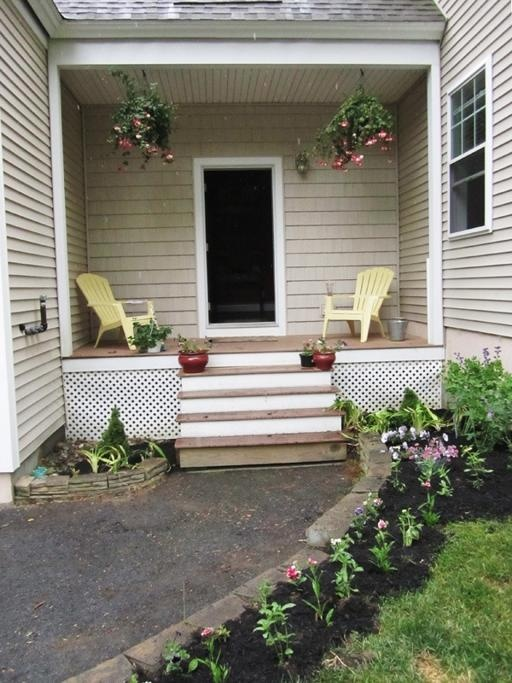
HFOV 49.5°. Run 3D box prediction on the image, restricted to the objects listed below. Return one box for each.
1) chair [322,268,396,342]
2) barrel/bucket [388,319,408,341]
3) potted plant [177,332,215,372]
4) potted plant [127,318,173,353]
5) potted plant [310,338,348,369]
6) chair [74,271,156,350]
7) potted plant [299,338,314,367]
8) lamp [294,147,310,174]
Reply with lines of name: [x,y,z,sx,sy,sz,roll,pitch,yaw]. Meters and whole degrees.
chair: [1.045,-0.375,5.601,0.541,0.689,0.700,4,10,39]
barrel/bucket: [1.348,-0.101,5.316,0.196,0.215,0.222,0,-2,14]
potted plant: [-0.511,0.087,4.642,0.310,0.359,0.297,-1,2,2]
potted plant: [-0.953,-0.040,4.896,0.330,0.287,0.372,-7,1,-29]
potted plant: [0.602,0.123,4.574,0.220,0.260,0.274,-2,-3,27]
chair: [-1.403,-0.353,5.478,0.875,0.775,0.655,5,12,14]
potted plant: [0.426,0.095,4.600,0.171,0.276,0.197,1,4,9]
lamp: [0.505,-1.962,6.052,0.174,0.272,0.178,-7,1,4]
